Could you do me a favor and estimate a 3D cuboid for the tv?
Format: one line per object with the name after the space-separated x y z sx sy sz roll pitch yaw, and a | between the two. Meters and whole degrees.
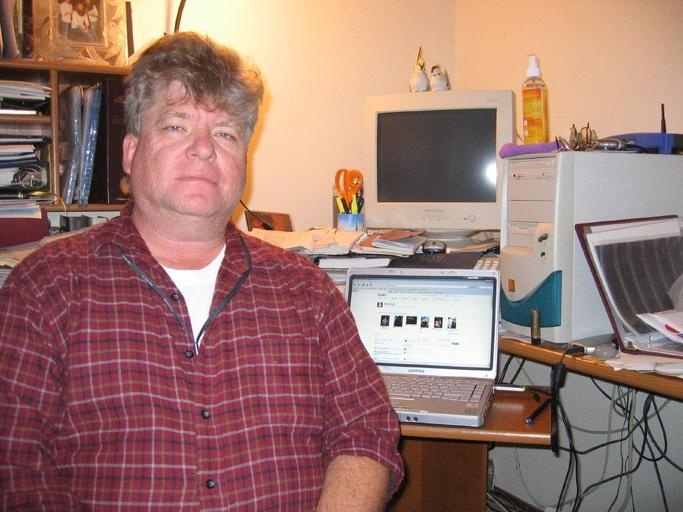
0.314 -0.312 2.183 0.705 0.697 0.405 0 2 16 | tv

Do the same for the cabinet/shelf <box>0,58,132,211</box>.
-0.919 -0.410 2.085 0.407 0.565 0.555 -5 10 -40 | cabinet/shelf

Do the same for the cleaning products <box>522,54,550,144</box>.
0.570 -0.462 1.715 0.073 0.259 0.266 2 10 17 | cleaning products

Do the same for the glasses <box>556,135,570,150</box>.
0.550 -0.278 1.462 0.032 0.041 0.010 -1 -24 -25 | glasses

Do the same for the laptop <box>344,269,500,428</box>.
0.213 0.199 1.475 0.372 0.287 0.339 1 8 13 | laptop
